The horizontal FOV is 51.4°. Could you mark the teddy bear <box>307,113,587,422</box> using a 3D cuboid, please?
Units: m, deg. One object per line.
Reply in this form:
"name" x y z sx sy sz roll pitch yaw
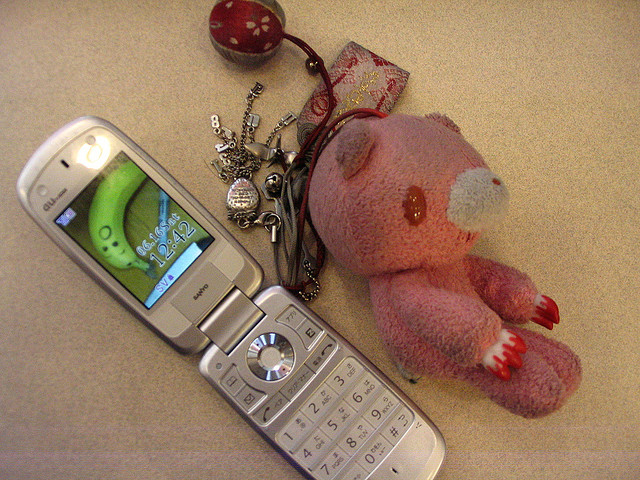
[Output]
"teddy bear" 0.151 0.022 0.846 0.299 0.387 0.236 -2 12 35
